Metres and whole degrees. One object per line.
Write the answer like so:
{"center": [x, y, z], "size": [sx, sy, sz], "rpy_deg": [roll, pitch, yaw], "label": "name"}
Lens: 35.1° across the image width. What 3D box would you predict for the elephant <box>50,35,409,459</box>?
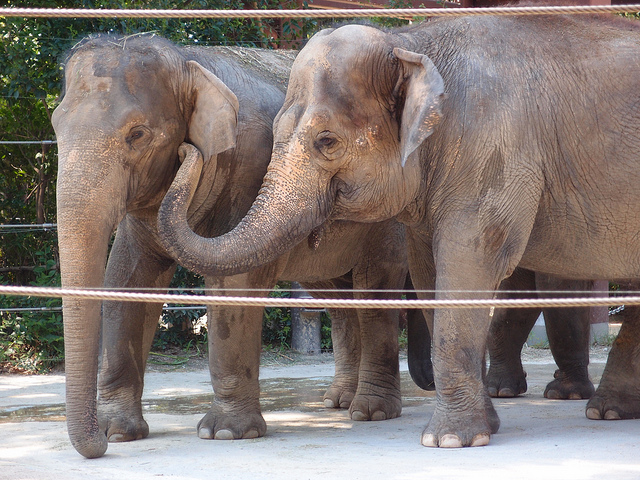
{"center": [-0.388, 0.078, 4.432], "size": [2.051, 1.489, 0.874], "rpy_deg": [5, -6, -42], "label": "elephant"}
